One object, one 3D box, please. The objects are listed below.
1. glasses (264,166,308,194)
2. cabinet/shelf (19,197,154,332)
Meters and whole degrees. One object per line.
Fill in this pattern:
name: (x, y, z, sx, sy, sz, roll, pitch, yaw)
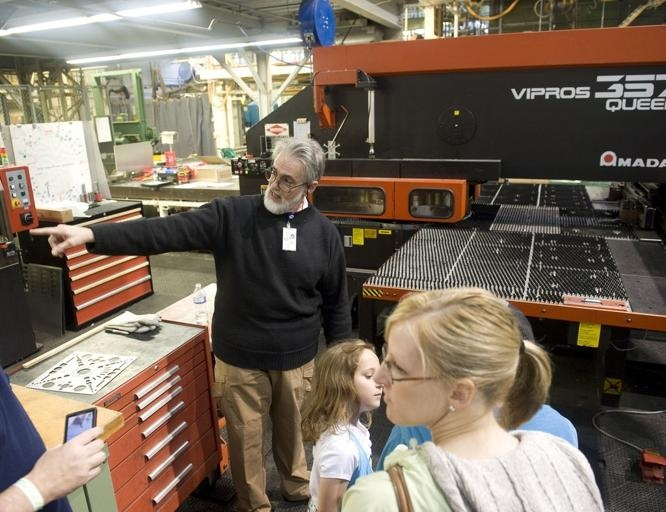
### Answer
glasses: (-0.244, -0.349, 2.252, 0.155, 0.050, 0.157, 27, 15, 20)
cabinet/shelf: (-2.231, 0.113, 4.084, 0.725, 1.165, 1.283, 4, 12, 21)
